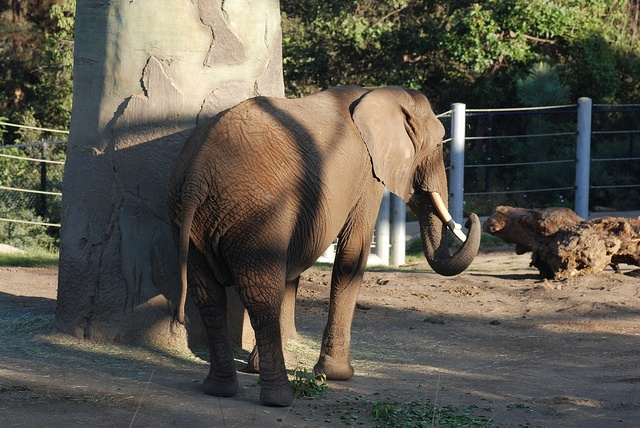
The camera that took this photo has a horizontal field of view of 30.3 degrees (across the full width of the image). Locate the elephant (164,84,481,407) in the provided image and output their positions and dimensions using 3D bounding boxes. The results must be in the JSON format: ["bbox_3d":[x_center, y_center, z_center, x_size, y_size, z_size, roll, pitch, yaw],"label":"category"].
[{"bbox_3d":[0.228,0.292,15.532,4.754,3.802,2.155,-4,5,-39],"label":"elephant"}]
